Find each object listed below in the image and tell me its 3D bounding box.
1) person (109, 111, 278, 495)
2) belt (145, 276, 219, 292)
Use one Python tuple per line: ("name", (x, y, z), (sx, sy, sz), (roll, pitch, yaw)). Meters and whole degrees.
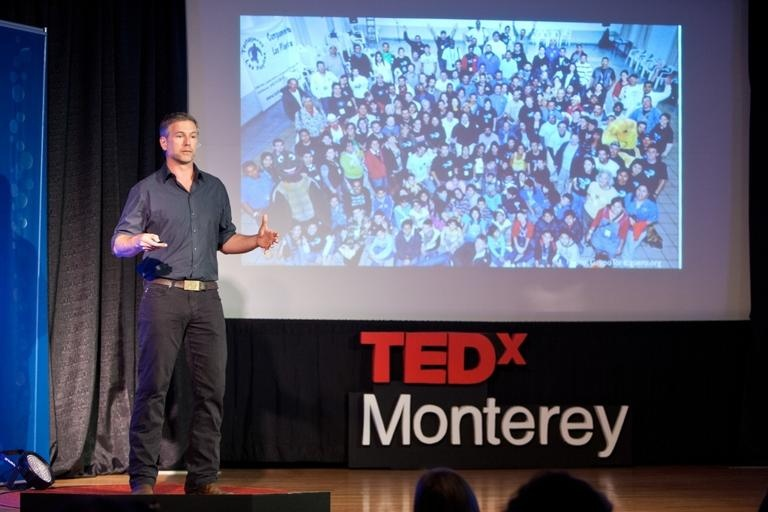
("person", (-1.284, 0.265, 4.731), (0.841, 2.386, 0.502), (-1, 2, -21))
("belt", (-1.290, 0.179, 4.740), (0.419, 0.086, 0.077), (-1, 1, -18))
